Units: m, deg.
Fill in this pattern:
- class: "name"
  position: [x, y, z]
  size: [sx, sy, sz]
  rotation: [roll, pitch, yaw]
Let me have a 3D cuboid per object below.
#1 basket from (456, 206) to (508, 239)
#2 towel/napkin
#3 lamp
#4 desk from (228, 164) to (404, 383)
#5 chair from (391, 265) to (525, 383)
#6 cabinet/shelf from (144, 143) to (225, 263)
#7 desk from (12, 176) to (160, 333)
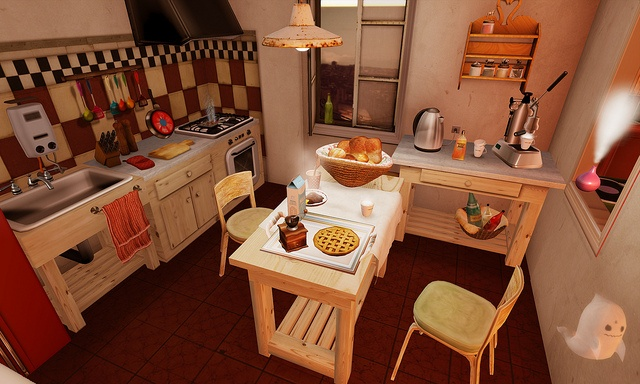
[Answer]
- class: "basket"
  position: [1.821, 0.377, 4.193]
  size: [0.540, 0.566, 0.223]
  rotation: [7, 57, 24]
- class: "towel/napkin"
  position: [-1.950, 0.332, 3.820]
  size: [0.156, 0.750, 0.524]
  rotation: [16, 37, 30]
- class: "lamp"
  position: [-0.145, -1.338, 3.060]
  size: [0.462, 0.337, 0.476]
  rotation: [24, 37, 35]
- class: "desk"
  position: [0.257, 0.579, 3.949]
  size: [1.189, 1.224, 2.058]
  rotation: [10, 28, 20]
- class: "chair"
  position: [1.123, 1.143, 3.175]
  size: [0.780, 1.175, 0.607]
  rotation: [14, 33, 23]
- class: "cabinet/shelf"
  position: [-1.539, 0.115, 4.173]
  size: [0.531, 1.001, 1.038]
  rotation: [10, 28, 22]
- class: "desk"
  position: [-2.319, 0.579, 3.789]
  size: [0.570, 1.248, 0.982]
  rotation: [20, 35, 31]
